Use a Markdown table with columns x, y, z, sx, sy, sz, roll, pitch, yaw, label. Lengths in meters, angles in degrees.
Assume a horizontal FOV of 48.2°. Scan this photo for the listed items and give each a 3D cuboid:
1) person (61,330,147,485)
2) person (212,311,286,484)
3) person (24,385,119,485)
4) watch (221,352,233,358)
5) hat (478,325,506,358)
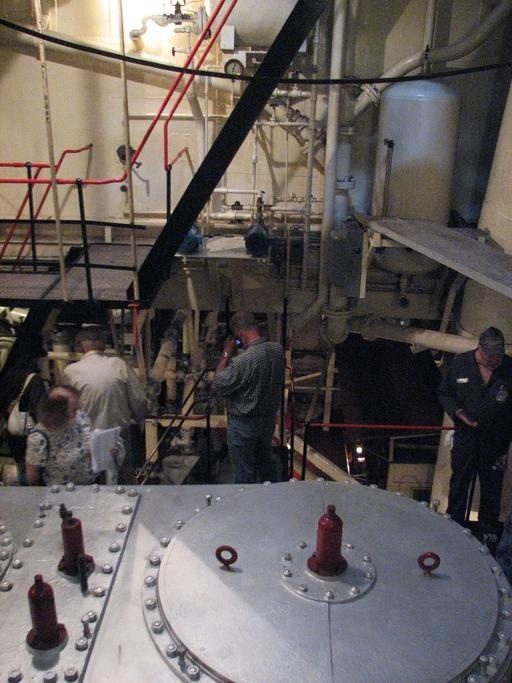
| x | y | z | sx | sy | sz | roll | pitch | yaw | label |
| --- | --- | --- | --- | --- | --- | --- | --- | --- | --- |
| -1.438 | 0.654 | 5.611 | 0.724 | 1.688 | 0.593 | -4 | 32 | -9 | person |
| -0.082 | 0.637 | 5.102 | 0.600 | 1.722 | 0.690 | 6 | 20 | 11 | person |
| -1.355 | 0.695 | 3.929 | 0.457 | 0.742 | 0.351 | -5 | 20 | -18 | person |
| -0.273 | 0.125 | 5.438 | 0.084 | 0.039 | 0.111 | -1 | 16 | -1 | watch |
| 2.227 | -0.011 | 5.401 | 0.197 | 0.161 | 0.285 | 0 | 24 | 8 | hat |
